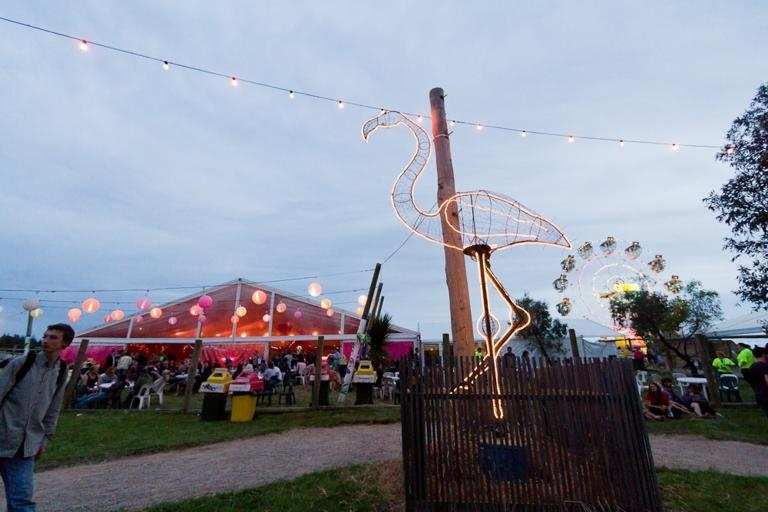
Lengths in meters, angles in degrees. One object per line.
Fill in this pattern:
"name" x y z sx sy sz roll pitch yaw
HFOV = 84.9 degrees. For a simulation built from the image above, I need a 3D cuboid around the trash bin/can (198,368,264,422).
"trash bin/can" -4.193 3.782 11.564 1.480 1.389 1.098 2 -17 -9
